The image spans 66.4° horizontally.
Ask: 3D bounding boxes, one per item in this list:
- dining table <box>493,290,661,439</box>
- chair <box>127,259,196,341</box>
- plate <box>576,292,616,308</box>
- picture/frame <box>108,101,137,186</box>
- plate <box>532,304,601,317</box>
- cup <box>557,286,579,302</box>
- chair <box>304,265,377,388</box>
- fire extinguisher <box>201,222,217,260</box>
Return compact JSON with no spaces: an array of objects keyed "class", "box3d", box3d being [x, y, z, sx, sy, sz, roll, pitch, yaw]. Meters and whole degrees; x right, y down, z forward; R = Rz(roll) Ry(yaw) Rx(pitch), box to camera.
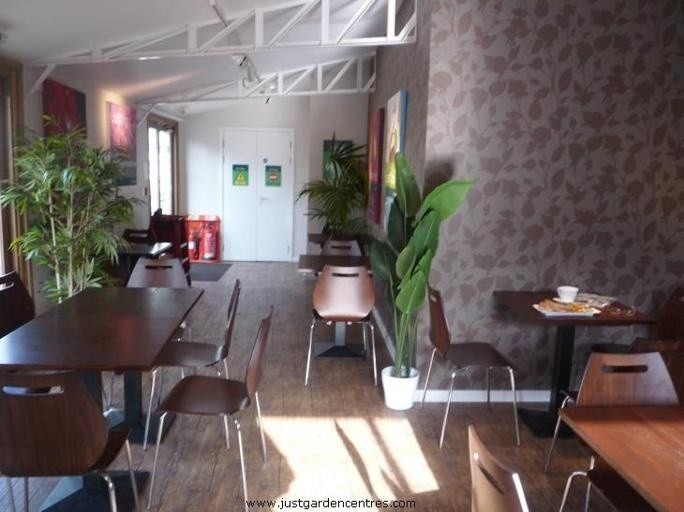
[{"class":"dining table","box3d":[1.683,0.649,4.174,0.981,1.217,1.224,-1,15,-3]},{"class":"chair","box3d":[-1.604,0.325,4.738,0.652,0.976,0.646,0,5,-9]},{"class":"plate","box3d":[1.876,0.329,3.857,0.166,0.044,0.174,-2,11,-17]},{"class":"picture/frame","box3d":[-2.751,-1.392,6.599,0.226,1.025,1.039,-3,11,-15]},{"class":"plate","box3d":[1.589,0.368,3.672,0.443,0.074,0.191,0,10,-1]},{"class":"cup","box3d":[1.634,0.269,3.789,0.114,0.091,0.117,-1,7,0]},{"class":"chair","box3d":[-0.012,0.537,4.912,0.679,1.024,1.132,0,10,2]},{"class":"fire extinguisher","box3d":[-2.347,-0.264,9.192,0.242,0.703,0.120,-4,11,-22]}]
